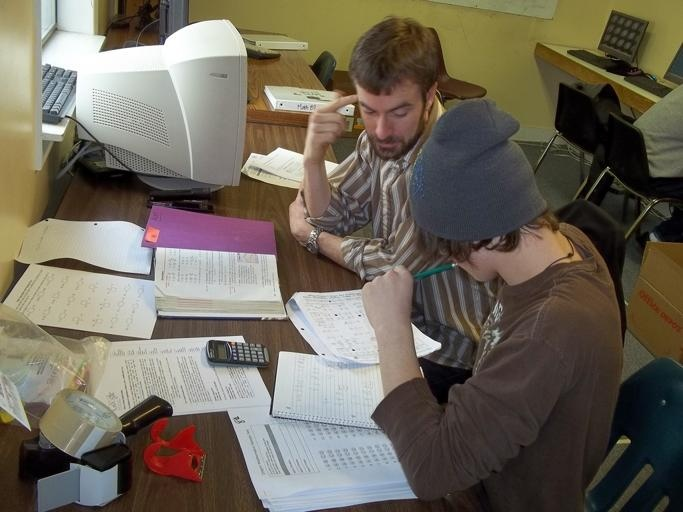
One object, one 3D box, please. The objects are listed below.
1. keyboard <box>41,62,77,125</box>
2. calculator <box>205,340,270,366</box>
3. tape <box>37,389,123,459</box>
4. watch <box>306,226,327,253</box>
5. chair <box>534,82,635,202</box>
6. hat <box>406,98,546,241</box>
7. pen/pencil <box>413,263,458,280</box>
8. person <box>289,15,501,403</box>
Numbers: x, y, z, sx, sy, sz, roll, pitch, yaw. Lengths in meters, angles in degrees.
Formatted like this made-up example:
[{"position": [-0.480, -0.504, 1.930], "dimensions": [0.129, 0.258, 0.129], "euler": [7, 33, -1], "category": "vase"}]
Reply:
[{"position": [-0.912, -0.515, 1.673], "dimensions": [0.096, 0.034, 0.336], "euler": [9, 40, -23], "category": "keyboard"}, {"position": [-0.240, 0.221, 1.182], "dimensions": [0.121, 0.031, 0.068], "euler": [5, 44, -22], "category": "calculator"}, {"position": [-0.442, 0.285, 0.884], "dimensions": [0.104, 0.085, 0.097], "euler": [21, 31, 22], "category": "tape"}, {"position": [-0.086, -0.053, 1.656], "dimensions": [0.040, 0.074, 0.068], "euler": [15, 22, 16], "category": "watch"}, {"position": [1.688, -0.795, 3.736], "dimensions": [0.476, 0.854, 0.557], "euler": [0, 35, -3], "category": "chair"}, {"position": [0.269, -0.131, 1.086], "dimensions": [0.187, 0.292, 0.236], "euler": [-14, 40, -27], "category": "hat"}, {"position": [0.265, 0.041, 1.461], "dimensions": [0.109, 0.017, 0.016], "euler": [-21, 34, -3], "category": "pen/pencil"}, {"position": [0.209, -0.013, 1.716], "dimensions": [0.549, 1.262, 0.598], "euler": [-9, 35, -24], "category": "person"}]
